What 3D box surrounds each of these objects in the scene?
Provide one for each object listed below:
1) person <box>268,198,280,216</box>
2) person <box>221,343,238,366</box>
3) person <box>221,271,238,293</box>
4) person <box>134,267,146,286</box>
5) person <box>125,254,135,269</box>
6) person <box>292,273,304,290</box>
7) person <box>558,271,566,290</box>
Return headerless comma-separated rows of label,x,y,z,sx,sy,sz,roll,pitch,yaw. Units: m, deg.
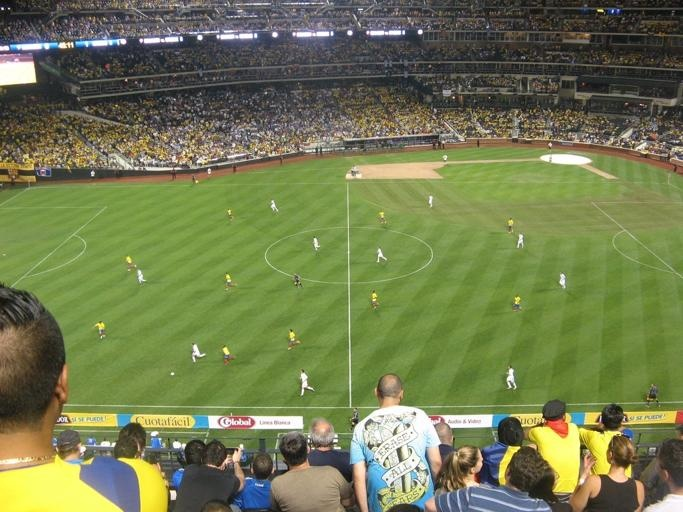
person,-7.559,-5.246,81.836,0.836,0.636,2.176,-24,17,5
person,-8.023,7.031,52.340,0.891,1.241,2.182,1,-3,-10
person,-9.550,2.364,62.975,1.059,0.540,1.419,-14,-15,-15
person,-17.566,1.954,64.239,0.731,0.485,1.374,-7,14,-6
person,-19.385,0.659,67.511,0.568,0.449,1.230,-42,19,-1
person,-3.695,2.184,62.858,0.797,1.157,1.781,1,-3,-5
person,18.354,2.151,61.108,0.587,1.395,1.781,-1,-4,17
